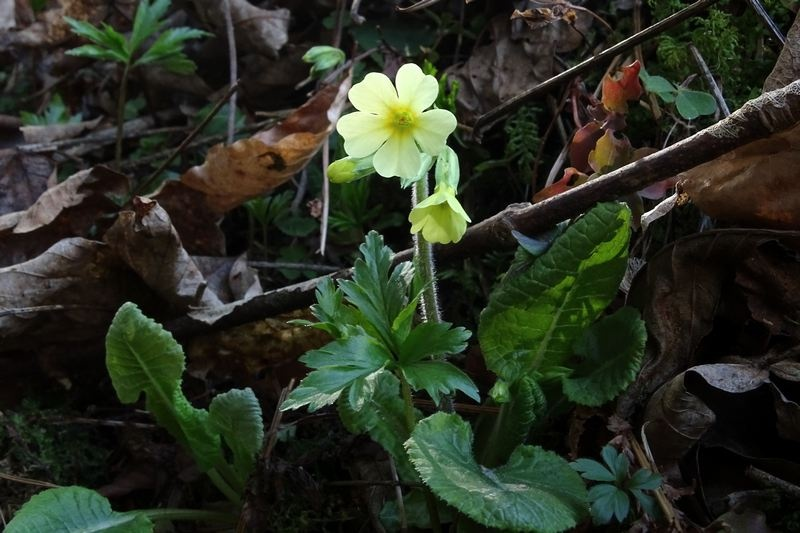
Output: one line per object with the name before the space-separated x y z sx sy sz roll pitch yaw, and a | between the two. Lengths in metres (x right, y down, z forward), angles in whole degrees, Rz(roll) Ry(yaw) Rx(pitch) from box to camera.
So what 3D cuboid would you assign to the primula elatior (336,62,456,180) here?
primula elatior | 0.010 -0.484 2.383 0.384 0.089 0.359 5 35 -19
